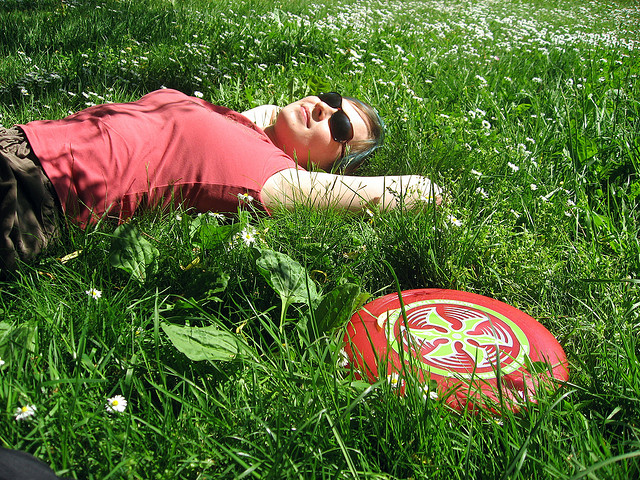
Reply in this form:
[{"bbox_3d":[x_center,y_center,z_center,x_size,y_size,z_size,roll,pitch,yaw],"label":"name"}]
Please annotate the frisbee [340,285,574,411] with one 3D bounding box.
[{"bbox_3d":[0.439,0.352,1.923,0.447,0.063,0.471,5,33,-7],"label":"frisbee"}]
